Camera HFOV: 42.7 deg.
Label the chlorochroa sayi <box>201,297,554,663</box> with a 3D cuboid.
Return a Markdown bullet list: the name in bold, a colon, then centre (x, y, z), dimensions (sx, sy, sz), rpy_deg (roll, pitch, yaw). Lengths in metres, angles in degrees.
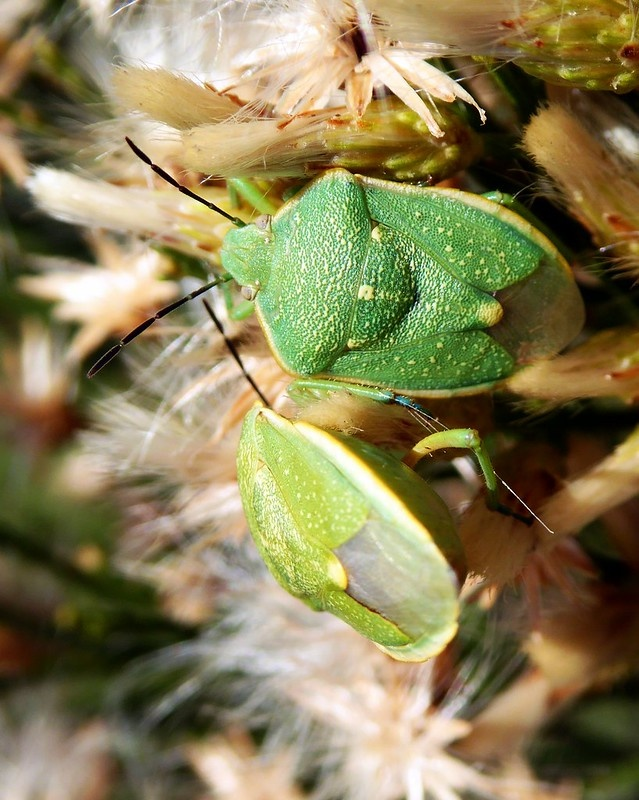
- **chlorochroa sayi**: centre (0.067, 0.120, 0.994), dimensions (0.351, 0.104, 0.253), rpy_deg (50, 118, 13)
